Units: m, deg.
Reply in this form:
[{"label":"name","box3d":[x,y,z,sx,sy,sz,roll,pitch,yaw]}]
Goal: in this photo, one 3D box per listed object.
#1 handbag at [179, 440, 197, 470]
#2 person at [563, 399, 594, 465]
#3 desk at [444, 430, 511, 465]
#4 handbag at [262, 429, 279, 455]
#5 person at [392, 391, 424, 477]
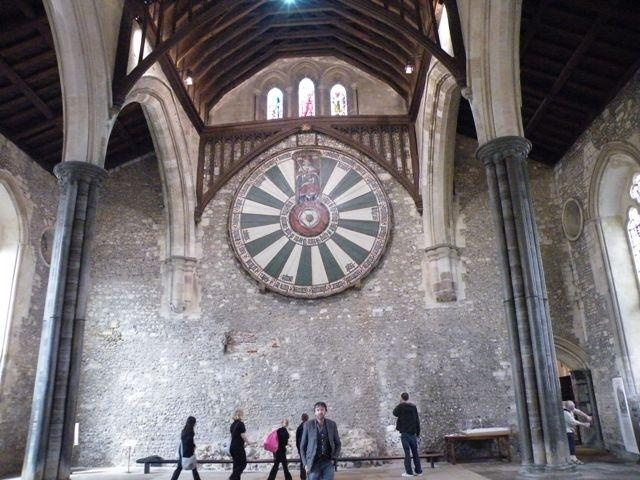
[{"label":"handbag","box3d":[-1.924,3.138,7.285,0.225,0.367,0.226,0,-18,-13]},{"label":"person","box3d":[4.449,3.291,8.647,0.423,1.078,0.273,-4,10,26]},{"label":"desk","box3d":[3.051,3.953,9.652,1.243,0.592,1.266,-10,-19,15]},{"label":"handbag","box3d":[-0.759,3.106,7.740,0.209,0.334,0.416,0,-19,-13]},{"label":"person","box3d":[1.492,3.233,8.411,0.394,1.302,1.480,-6,-18,8]}]
